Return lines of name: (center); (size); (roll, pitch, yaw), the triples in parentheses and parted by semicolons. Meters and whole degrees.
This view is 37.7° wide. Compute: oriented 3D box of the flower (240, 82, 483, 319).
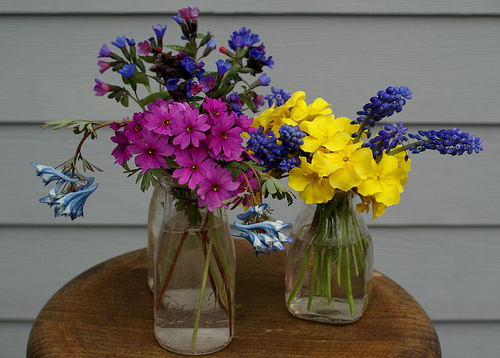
flower: (0.265, 0.048, 1.843); (0.512, 0.611, 0.418); (9, 17, 9)

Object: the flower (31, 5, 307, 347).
flower: (-0.173, 0.005, 1.748); (0.573, 0.808, 0.302); (3, 13, 8)

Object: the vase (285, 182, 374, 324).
vase: (0.197, 0.230, 1.914); (0.207, 0.366, 0.237); (-5, -23, 25)
